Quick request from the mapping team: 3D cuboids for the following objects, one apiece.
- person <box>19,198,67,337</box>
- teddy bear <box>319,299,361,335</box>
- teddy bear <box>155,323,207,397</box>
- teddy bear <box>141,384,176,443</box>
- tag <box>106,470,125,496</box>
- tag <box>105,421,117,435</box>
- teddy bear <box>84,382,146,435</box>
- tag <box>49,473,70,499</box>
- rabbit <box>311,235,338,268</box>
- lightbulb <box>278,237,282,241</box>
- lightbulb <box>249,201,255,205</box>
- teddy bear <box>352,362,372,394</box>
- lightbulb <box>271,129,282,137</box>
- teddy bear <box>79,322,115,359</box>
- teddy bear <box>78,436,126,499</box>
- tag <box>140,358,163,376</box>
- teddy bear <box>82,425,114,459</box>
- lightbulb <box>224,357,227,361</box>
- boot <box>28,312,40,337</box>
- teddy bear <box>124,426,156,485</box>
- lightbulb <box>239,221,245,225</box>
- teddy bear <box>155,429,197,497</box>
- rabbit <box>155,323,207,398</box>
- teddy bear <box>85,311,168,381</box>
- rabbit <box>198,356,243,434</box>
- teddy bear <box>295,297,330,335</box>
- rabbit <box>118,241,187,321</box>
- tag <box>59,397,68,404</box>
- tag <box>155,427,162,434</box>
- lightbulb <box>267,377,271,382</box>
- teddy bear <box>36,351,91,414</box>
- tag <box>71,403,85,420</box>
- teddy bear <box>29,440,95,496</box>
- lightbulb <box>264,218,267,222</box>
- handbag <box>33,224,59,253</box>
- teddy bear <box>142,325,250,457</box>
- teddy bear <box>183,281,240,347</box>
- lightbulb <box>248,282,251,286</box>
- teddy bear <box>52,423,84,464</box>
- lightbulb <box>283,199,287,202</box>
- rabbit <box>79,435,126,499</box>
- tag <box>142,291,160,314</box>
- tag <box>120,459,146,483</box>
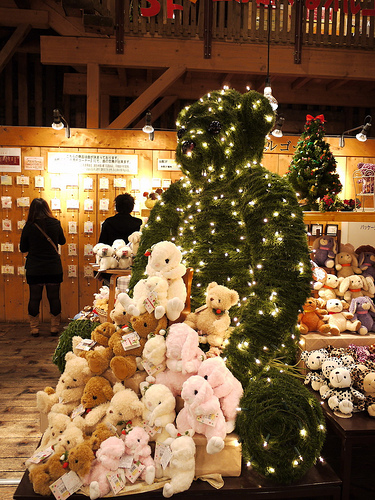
[{"bbox_3d":[-1.587,0.183,4.558,0.471,1.514,0.327,-2,4,-39],"label":"person"},{"bbox_3d":[0.930,0.406,2.542,0.220,0.229,0.201,-9,-5,-3],"label":"teddy bear"},{"bbox_3d":[-0.034,0.456,1.685,0.229,0.284,0.179,-10,-21,32],"label":"teddy bear"},{"bbox_3d":[-0.116,0.654,1.634,0.174,0.223,0.139,-7,-16,25],"label":"teddy bear"},{"bbox_3d":[-0.262,0.845,1.505,0.054,0.070,0.019,-17,-21,-37],"label":"tag"},{"bbox_3d":[-0.303,0.702,1.632,0.026,0.037,0.055,-27,51,-31],"label":"tag"},{"bbox_3d":[-0.288,0.641,1.674,0.209,0.151,0.174,2,4,35],"label":"teddy bear"},{"bbox_3d":[-0.444,0.833,1.441,0.063,0.060,0.016,-35,2,-33],"label":"tag"},{"bbox_3d":[0.937,0.005,2.826,0.205,0.230,0.174,12,8,43],"label":"rabbit"},{"bbox_3d":[0.414,-0.053,1.835,0.016,0.013,0.009,1,3,20],"label":"lightbulb"},{"bbox_3d":[0.313,-0.231,1.997,0.009,0.018,0.040,-2,3,-32],"label":"lightbulb"},{"bbox_3d":[0.841,0.617,1.992,0.112,0.127,0.108,8,-5,-40],"label":"teddy bear"},{"bbox_3d":[0.965,-1.258,4.415,0.092,0.094,0.097,6,-39,5],"label":"lightbulb"},{"bbox_3d":[-0.430,0.418,1.929,0.160,0.176,0.159,11,-8,-8],"label":"teddy bear"},{"bbox_3d":[-0.290,0.797,1.526,0.139,0.184,0.100,24,-12,11],"label":"teddy bear"},{"bbox_3d":[-0.147,0.485,1.728,0.066,0.071,0.011,-30,-12,-14],"label":"tag"},{"bbox_3d":[-0.335,0.733,1.591,0.080,0.102,0.068,37,-21,14],"label":"teddy bear"},{"bbox_3d":[0.165,0.471,1.793,0.008,0.013,0.003,-4,-25,17],"label":"lightbulb"},{"bbox_3d":[-1.711,0.818,4.579,0.095,0.240,0.207,-1,3,-23],"label":"boot"},{"bbox_3d":[-0.176,0.774,1.570,0.125,0.166,0.075,-5,-7,16],"label":"teddy bear"},{"bbox_3d":[0.281,-0.143,2.126,0.018,0.007,0.025,13,-12,-3],"label":"lightbulb"},{"bbox_3d":[-0.032,0.799,1.546,0.163,0.212,0.089,-1,3,-24],"label":"teddy bear"},{"bbox_3d":[-0.035,0.468,1.764,0.251,0.309,0.185,-3,-3,27],"label":"rabbit"},{"bbox_3d":[-0.275,0.390,1.855,0.295,0.146,0.429,4,24,21],"label":"teddy bear"},{"bbox_3d":[0.125,0.578,1.620,0.220,0.268,0.186,10,-26,-37],"label":"rabbit"},{"bbox_3d":[0.777,0.394,2.539,0.187,0.211,0.233,0,3,6],"label":"teddy bear"},{"bbox_3d":[-0.172,0.136,1.952,0.319,0.345,0.270,-5,18,3],"label":"rabbit"},{"bbox_3d":[-0.544,0.656,1.804,0.034,0.008,0.033,3,-2,-18],"label":"tag"},{"bbox_3d":[-0.113,0.711,1.625,0.017,0.005,0.017,-41,14,-2],"label":"tag"},{"bbox_3d":[0.328,0.517,1.651,0.011,0.009,0.024,-1,3,-10],"label":"lightbulb"},{"bbox_3d":[-0.537,0.598,1.837,0.182,0.248,0.220,20,21,23],"label":"teddy bear"},{"bbox_3d":[-0.464,0.678,1.740,0.044,0.012,0.043,-41,18,-13],"label":"tag"},{"bbox_3d":[-0.460,0.793,1.546,0.233,0.139,0.098,-32,-22,2],"label":"teddy bear"},{"bbox_3d":[0.363,-0.142,1.914,0.009,0.015,0.016,6,-7,-39],"label":"lightbulb"},{"bbox_3d":[-1.536,-0.133,4.467,0.261,0.305,0.056,-3,4,-44],"label":"handbag"},{"bbox_3d":[0.038,0.559,1.691,0.443,0.473,0.303,0,3,8],"label":"teddy bear"},{"bbox_3d":[0.101,0.276,1.871,0.216,0.246,0.197,17,15,22],"label":"teddy bear"},{"bbox_3d":[0.315,0.168,2.083,0.010,0.013,0.004,-11,-15,34],"label":"lightbulb"},{"bbox_3d":[-0.456,0.725,1.565,0.091,0.126,0.103,37,-19,-31],"label":"teddy bear"},{"bbox_3d":[0.452,-0.232,1.903,0.017,0.012,0.007,1,3,24],"label":"lightbulb"},{"bbox_3d":[-0.304,0.786,1.512,0.079,0.193,0.117,42,-18,-32],"label":"rabbit"},{"bbox_3d":[-0.157,0.229,1.792,0.074,0.082,0.011,28,-23,16],"label":"tag"},{"bbox_3d":[-0.197,0.824,1.537,0.071,0.068,0.018,-40,-8,-13],"label":"tag"}]
